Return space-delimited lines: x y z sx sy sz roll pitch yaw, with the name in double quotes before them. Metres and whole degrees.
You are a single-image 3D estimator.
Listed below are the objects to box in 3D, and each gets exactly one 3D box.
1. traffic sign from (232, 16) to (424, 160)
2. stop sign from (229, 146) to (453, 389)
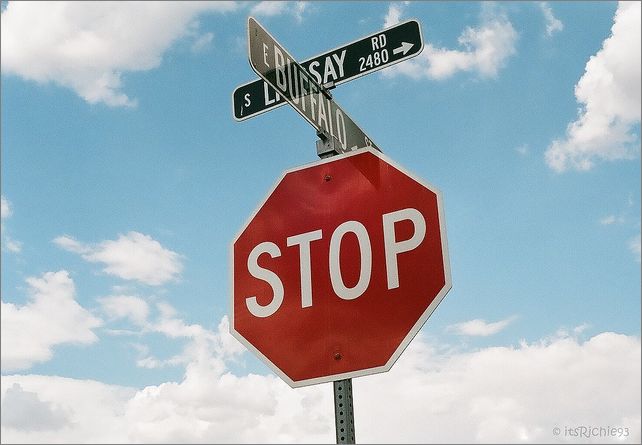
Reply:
"traffic sign" 0.053 -0.853 4.825 0.980 0.931 0.249 -16 -14 6
"stop sign" 0.125 0.287 4.428 1.064 1.131 0.084 -15 -29 14
